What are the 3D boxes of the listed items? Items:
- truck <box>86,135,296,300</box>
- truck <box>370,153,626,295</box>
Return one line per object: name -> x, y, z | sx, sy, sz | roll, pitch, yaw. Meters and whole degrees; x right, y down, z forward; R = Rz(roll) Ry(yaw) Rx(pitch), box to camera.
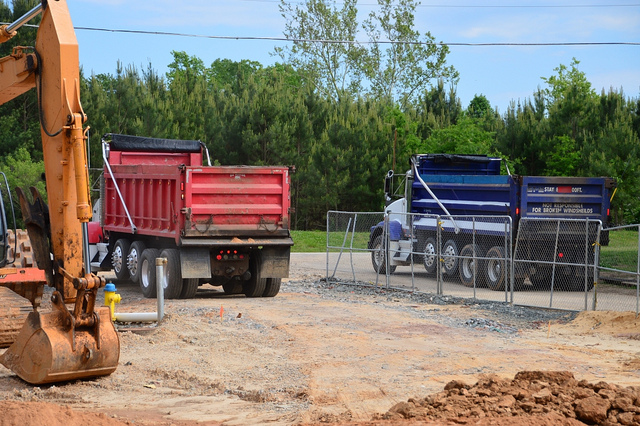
truck -> -3.363, 0.069, 20.383 | 3.467, 3.767, 6.127 | 1, 4, -30
truck -> 4.718, 0.356, 23.203 | 3.935, 3.836, 7.455 | 1, 2, -27
